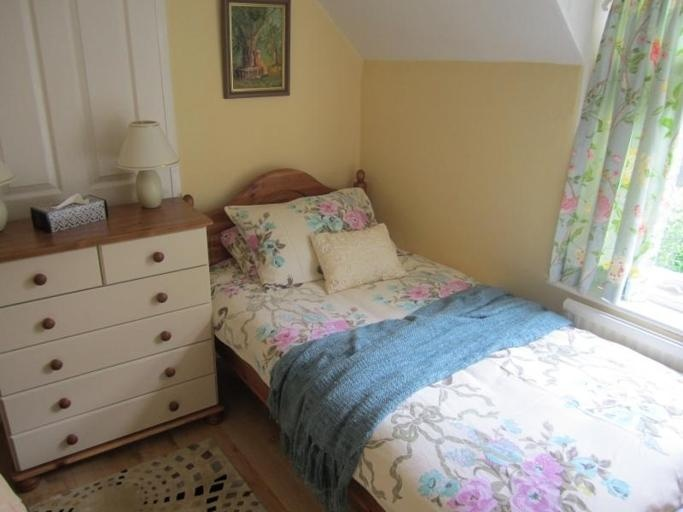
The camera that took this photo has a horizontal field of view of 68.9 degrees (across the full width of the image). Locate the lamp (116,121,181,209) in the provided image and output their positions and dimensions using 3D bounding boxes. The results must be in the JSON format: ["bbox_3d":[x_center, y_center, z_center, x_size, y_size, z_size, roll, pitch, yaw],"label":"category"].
[{"bbox_3d":[-0.984,-0.451,2.527,0.287,0.417,0.282,-12,24,-33],"label":"lamp"}]

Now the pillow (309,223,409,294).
[{"bbox_3d":[0.072,0.023,2.817,0.534,0.351,0.149,-13,-11,-33],"label":"pillow"}]

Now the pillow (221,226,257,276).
[{"bbox_3d":[-0.566,-0.011,2.927,0.068,0.258,0.254,-25,54,-25],"label":"pillow"}]
